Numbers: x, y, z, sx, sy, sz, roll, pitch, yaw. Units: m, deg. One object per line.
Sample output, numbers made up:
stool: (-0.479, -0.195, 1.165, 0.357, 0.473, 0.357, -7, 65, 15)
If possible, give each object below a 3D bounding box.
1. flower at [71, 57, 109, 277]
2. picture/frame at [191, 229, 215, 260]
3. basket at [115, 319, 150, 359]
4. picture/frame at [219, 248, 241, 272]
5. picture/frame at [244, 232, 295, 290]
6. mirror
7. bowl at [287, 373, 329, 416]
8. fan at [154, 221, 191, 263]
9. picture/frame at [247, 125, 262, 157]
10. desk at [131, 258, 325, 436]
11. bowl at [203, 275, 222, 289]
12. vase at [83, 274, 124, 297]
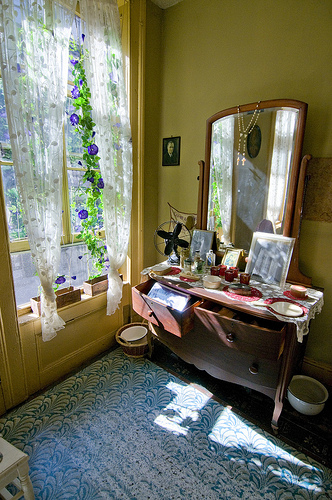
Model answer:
flower: (-0.479, -0.481, 2.069, 0.181, 1.365, 0.280, -3, 16, -11)
picture/frame: (0.253, -0.044, 2.160, 0.083, 0.159, 0.153, -15, 26, -38)
basket: (-0.219, 0.654, 2.264, 0.175, 0.139, 0.181, -2, 7, -23)
picture/frame: (0.405, 0.056, 2.028, 0.108, 0.144, 0.010, 22, 1, 44)
picture/frame: (0.600, 0.060, 1.849, 0.241, 0.317, 0.022, 16, 10, 39)
mirror: (0.535, -0.341, 1.905, 0.076, 1.139, 0.950, -12, 19, -42)
bowl: (0.789, 0.801, 1.813, 0.172, 0.083, 0.188, -1, 17, 0)
fan: (0.037, -0.070, 2.205, 0.240, 0.323, 0.191, -8, 30, -13)
picture/frame: (0.512, -0.647, 1.900, 0.094, 0.182, 0.009, -4, 15, -18)
desk: (0.309, 0.485, 1.949, 0.984, 0.679, 0.661, 16, 24, 38)
bowl: (0.251, 0.166, 1.846, 0.065, 0.034, 0.078, -13, 20, -42)
vase: (-0.468, 0.237, 2.229, 0.178, 0.113, 0.092, -11, 20, -34)
